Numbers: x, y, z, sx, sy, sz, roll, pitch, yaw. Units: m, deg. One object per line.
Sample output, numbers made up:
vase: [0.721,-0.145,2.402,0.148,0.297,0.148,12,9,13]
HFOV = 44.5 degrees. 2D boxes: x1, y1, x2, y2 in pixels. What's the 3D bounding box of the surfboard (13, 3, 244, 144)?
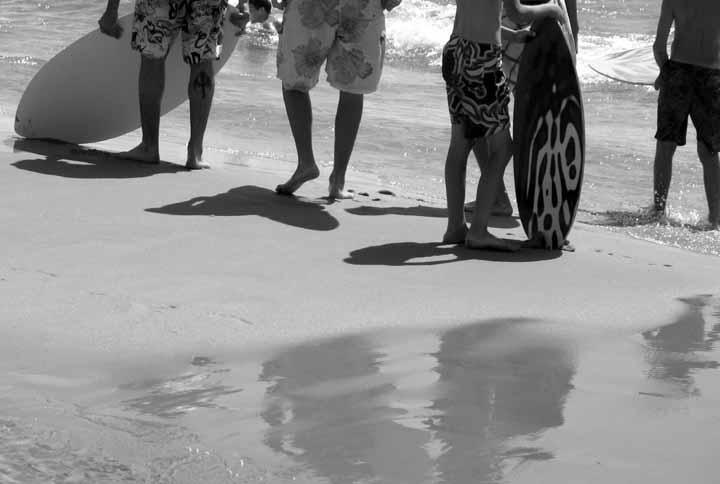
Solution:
surfboard: [-1.645,-1.331,6.424,1.892,0.743,0.274,-36,21,-12]
